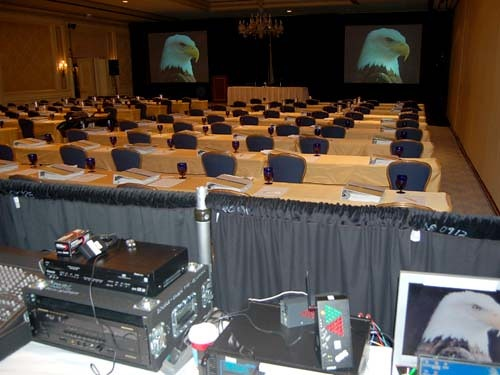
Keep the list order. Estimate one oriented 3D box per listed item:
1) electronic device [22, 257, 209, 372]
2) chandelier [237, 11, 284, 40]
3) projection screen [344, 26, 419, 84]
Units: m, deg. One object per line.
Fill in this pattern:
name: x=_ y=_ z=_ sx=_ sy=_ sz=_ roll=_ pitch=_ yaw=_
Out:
electronic device: x=-0.435 y=0.373 z=1.367 sx=0.431 sy=0.187 sz=0.347 roll=6 pitch=17 yaw=25
chandelier: x=0.404 y=-6.185 z=13.669 sx=1.423 sy=0.935 sz=1.412 roll=-3 pitch=4 yaw=36
projection screen: x=6.198 y=-6.189 z=16.429 sx=2.715 sy=2.064 sz=0.013 roll=2 pitch=9 yaw=13
